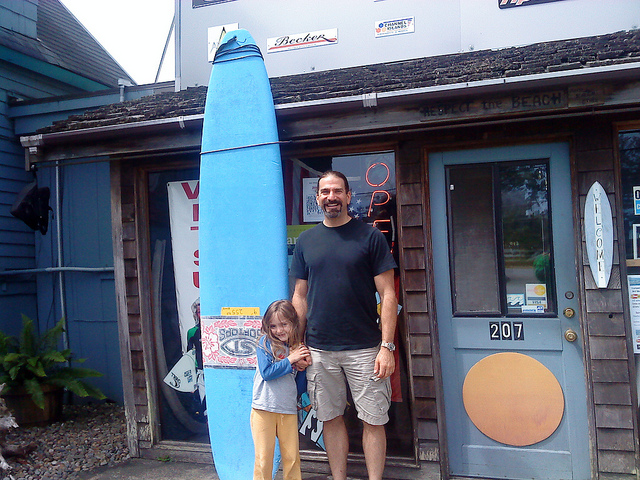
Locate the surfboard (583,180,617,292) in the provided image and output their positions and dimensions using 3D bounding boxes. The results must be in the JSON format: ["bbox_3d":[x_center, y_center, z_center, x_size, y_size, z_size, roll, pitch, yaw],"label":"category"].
[{"bbox_3d":[2.234,-0.050,5.060,0.206,0.850,0.038,-2,-2,18],"label":"surfboard"}]

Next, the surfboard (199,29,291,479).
[{"bbox_3d":[-0.655,0.092,5.382,0.675,3.746,0.422,0,1,17],"label":"surfboard"}]

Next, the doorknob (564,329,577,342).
[{"bbox_3d":[2.030,0.769,5.100,0.097,0.101,0.026,-1,-2,7],"label":"doorknob"}]
